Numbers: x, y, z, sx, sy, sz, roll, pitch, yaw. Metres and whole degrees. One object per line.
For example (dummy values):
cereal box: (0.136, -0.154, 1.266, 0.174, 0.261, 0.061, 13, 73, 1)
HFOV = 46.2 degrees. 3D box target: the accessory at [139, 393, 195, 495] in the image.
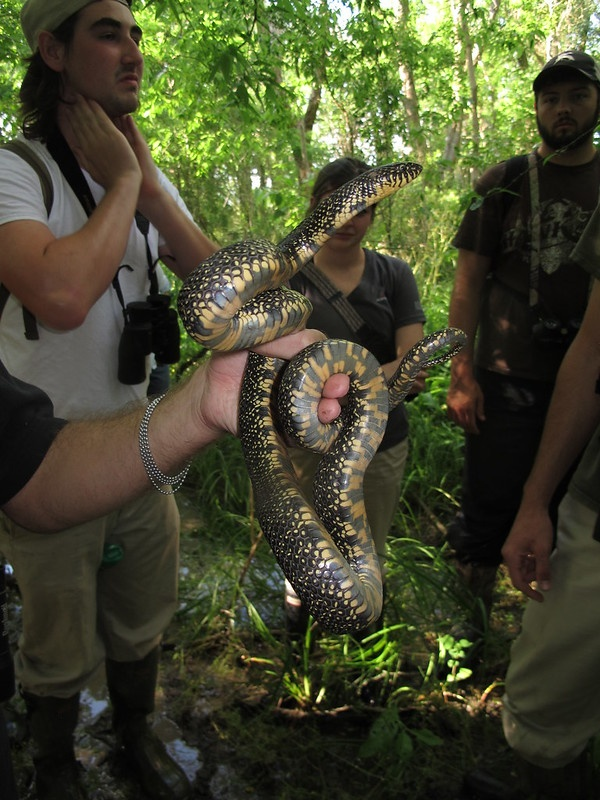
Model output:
accessory: (-0.435, 0.134, 2.041, 0.072, 0.256, 0.224, -21, -21, 33)

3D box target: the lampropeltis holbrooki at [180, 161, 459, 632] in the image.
lampropeltis holbrooki: (0.031, -0.009, 1.967, 0.885, 1.177, 0.319, 1, -2, 8)
